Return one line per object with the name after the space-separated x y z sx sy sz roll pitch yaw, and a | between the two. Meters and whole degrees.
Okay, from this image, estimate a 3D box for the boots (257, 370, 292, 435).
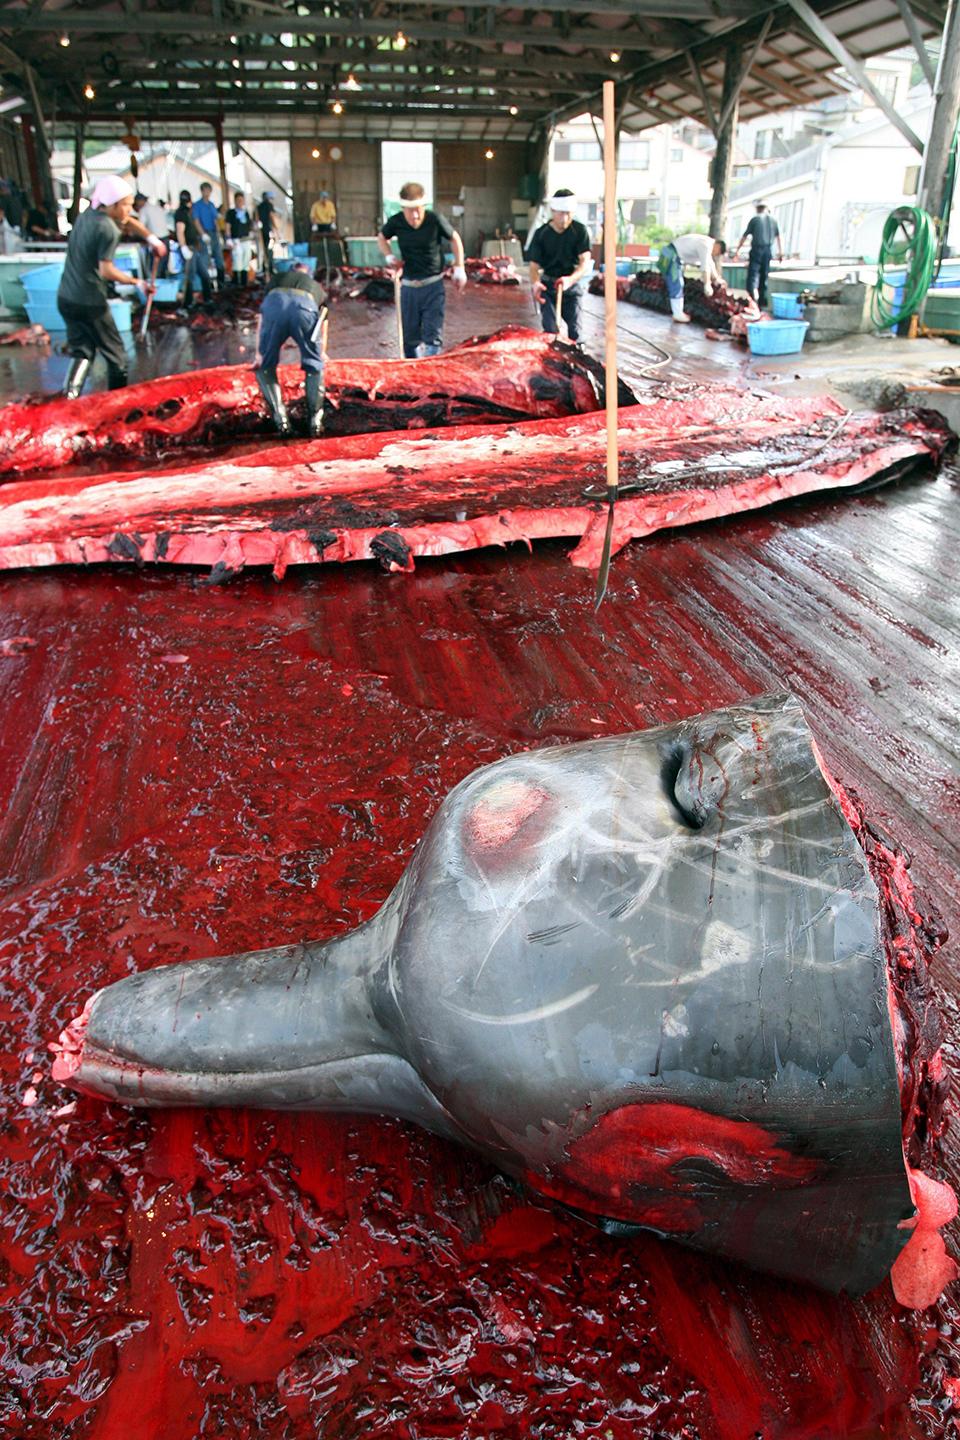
-1.138 -1.749 5.162 0.140 0.330 0.099 3 26 4 | boots

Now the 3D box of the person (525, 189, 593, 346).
0.667 -3.745 7.975 0.576 1.327 0.527 -19 44 -14 | person

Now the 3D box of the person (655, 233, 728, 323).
2.608 -5.562 11.753 0.794 1.092 0.646 10 12 2 | person

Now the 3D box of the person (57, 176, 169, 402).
-2.566 -2.951 6.349 0.681 1.352 1.371 -8 26 -17 | person

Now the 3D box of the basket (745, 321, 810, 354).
2.861 -3.579 8.902 0.513 0.264 0.368 -16 28 -26 | basket

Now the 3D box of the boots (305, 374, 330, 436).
-0.911 -1.740 5.153 0.121 0.319 0.101 -3 26 -8 | boots
